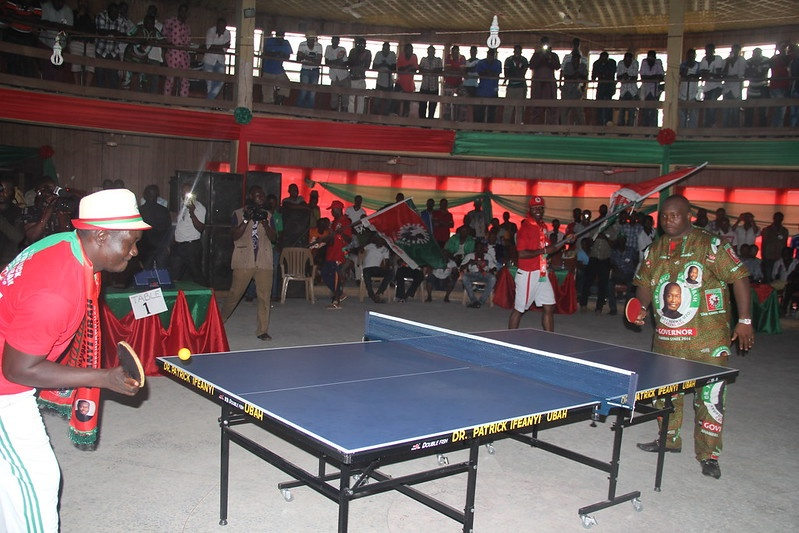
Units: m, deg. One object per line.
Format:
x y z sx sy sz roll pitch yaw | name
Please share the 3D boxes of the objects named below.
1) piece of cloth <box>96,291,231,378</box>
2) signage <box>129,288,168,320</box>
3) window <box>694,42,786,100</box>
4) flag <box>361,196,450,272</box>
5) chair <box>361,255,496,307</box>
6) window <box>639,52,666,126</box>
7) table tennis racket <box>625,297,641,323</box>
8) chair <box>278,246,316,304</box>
-2.908 0.576 8.542 1.138 0.777 1.145 -3 5 -20 | piece of cloth
-2.884 0.379 8.046 0.301 0.269 0.033 -19 5 -27 | signage
7.441 -4.536 15.735 1.395 1.196 0.517 9 27 25 | window
0.142 -0.721 14.382 1.403 1.431 0.150 -35 11 -20 | flag
0.808 0.213 15.000 1.397 0.758 1.414 5 -14 -6 | chair
5.842 -4.278 16.367 0.574 1.826 0.516 6 17 32 | window
2.132 0.354 6.475 0.141 0.255 0.032 17 -12 -24 | table tennis racket
-1.946 0.075 13.384 0.780 1.039 0.828 6 6 38 | chair
